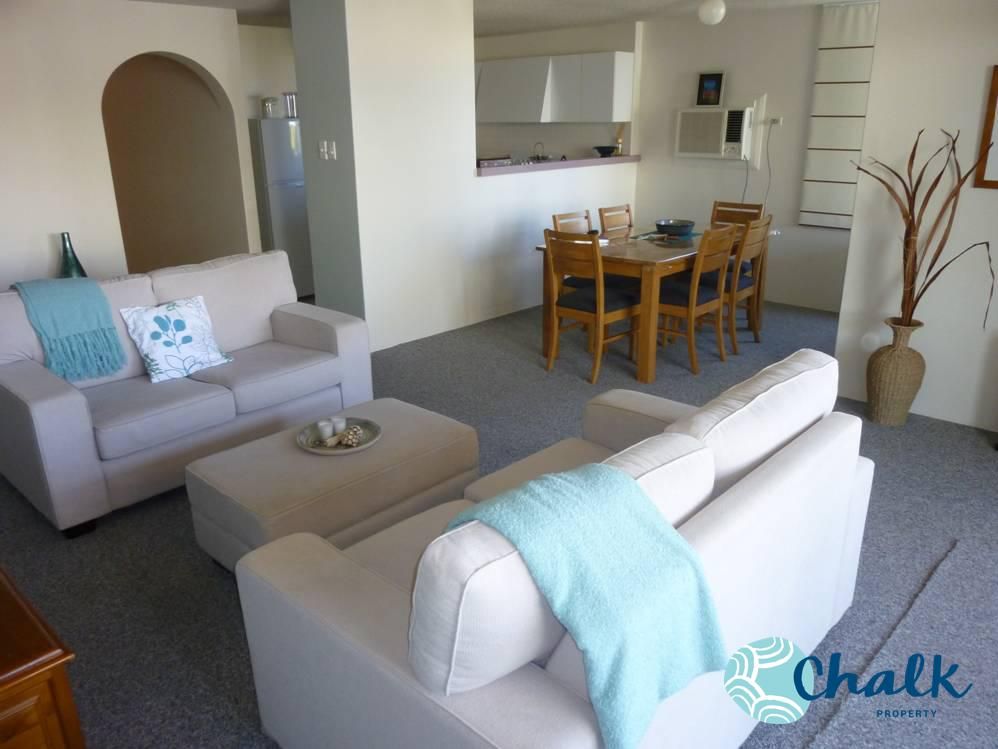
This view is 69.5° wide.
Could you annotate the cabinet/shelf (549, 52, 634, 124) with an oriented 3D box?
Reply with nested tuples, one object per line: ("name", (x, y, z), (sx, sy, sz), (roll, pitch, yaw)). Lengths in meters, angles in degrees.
("cabinet/shelf", (0.924, -2.917, 7.312), (0.872, 0.644, 0.459), (3, 22, 11))

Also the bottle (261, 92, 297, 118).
("bottle", (-2.223, -2.718, 7.216), (0.363, 0.248, 0.368), (2, 27, -1))

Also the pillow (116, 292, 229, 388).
("pillow", (-1.796, -0.204, 3.980), (0.143, 0.477, 0.481), (-20, 5, 37))

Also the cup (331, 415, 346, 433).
("cup", (-0.751, 0.228, 3.350), (0.055, 0.056, 0.071), (-1, 17, -7))

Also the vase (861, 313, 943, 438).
("vase", (2.491, 0.019, 4.396), (0.438, 0.871, 0.446), (14, 29, 34))

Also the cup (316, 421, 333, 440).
("cup", (-0.803, 0.246, 3.294), (0.070, 0.076, 0.078), (-4, 15, -10))

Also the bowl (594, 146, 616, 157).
("bowl", (1.110, -2.324, 7.473), (0.208, 0.101, 0.141), (5, 23, 14))
